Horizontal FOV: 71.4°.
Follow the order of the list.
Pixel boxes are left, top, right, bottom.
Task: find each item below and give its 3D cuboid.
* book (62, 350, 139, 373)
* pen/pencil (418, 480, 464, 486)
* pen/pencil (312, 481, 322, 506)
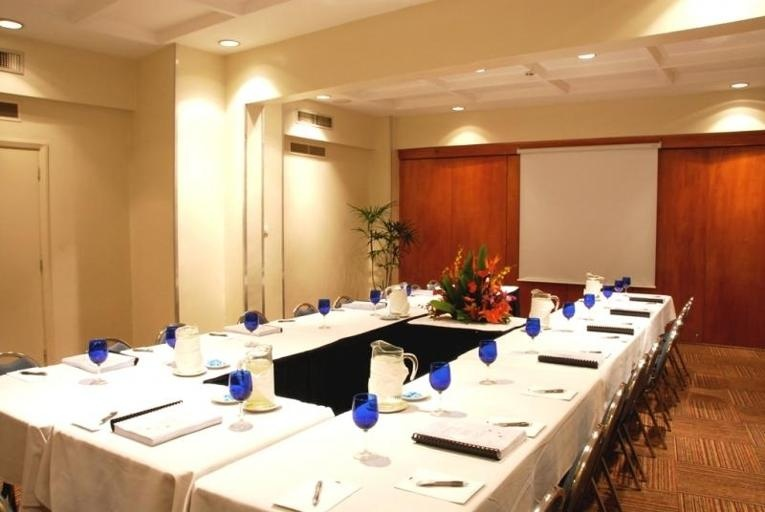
[{"bbox_3d":[-1.890,0.725,3.630,0.256,0.035,0.241,-1,5,-44],"label":"book"},{"bbox_3d":[0.264,1.028,2.403,0.214,0.021,0.024,0,10,-3],"label":"pen/pencil"},{"bbox_3d":[-0.281,1.045,2.343,0.019,0.027,0.081,20,16,-3],"label":"pen/pencil"}]
